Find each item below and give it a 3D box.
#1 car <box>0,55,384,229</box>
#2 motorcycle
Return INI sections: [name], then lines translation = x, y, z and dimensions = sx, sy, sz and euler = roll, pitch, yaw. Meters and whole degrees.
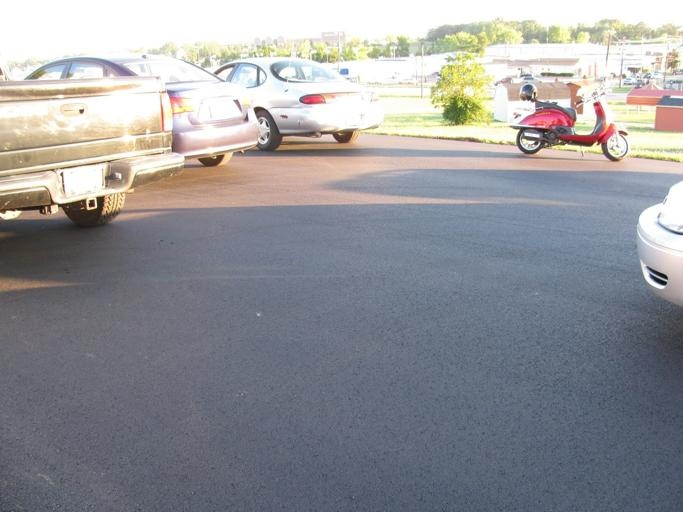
[car]
translation = -1.859, -3.231, 10.686
dimensions = 2.758, 2.490, 6.198
euler = 11, 26, 36
[motorcycle]
translation = 5.272, -3.174, 11.663
dimensions = 2.969, 1.974, 1.557
euler = 5, 9, 12
